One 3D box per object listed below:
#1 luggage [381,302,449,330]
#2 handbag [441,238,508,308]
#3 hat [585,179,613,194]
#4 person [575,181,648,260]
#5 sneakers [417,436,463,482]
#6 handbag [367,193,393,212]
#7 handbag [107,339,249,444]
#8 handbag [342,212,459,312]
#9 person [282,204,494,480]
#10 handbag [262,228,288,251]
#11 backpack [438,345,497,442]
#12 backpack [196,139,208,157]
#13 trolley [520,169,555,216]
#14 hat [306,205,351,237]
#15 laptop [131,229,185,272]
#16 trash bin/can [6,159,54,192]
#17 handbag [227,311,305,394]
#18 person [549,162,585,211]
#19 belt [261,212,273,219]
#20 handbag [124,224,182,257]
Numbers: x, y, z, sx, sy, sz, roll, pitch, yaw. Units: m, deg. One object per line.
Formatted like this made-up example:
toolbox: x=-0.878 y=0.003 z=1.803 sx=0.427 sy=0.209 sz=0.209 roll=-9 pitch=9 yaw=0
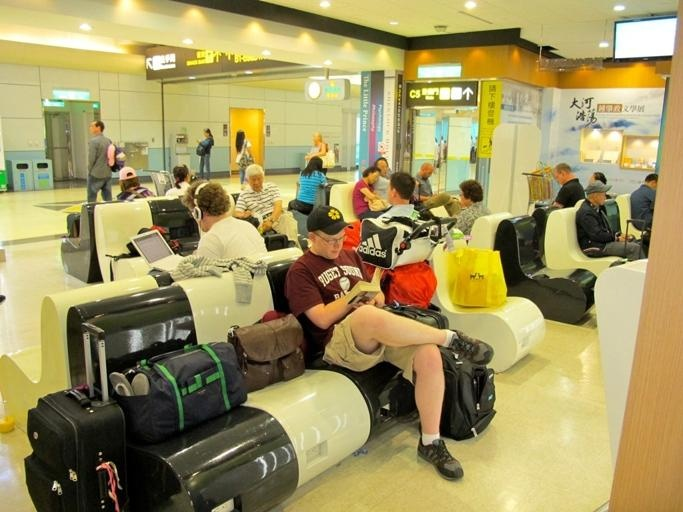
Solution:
luggage: x=0.491 y=0.355 z=3.069 sx=0.400 sy=0.215 sz=0.274 roll=3 pitch=-3 yaw=29
handbag: x=1.189 y=0.206 z=4.109 sx=0.493 sy=0.482 sz=0.369 roll=2 pitch=-5 yaw=6
hat: x=3.394 y=-0.883 z=6.044 sx=0.455 sy=0.172 sz=0.296 roll=-13 pitch=17 yaw=-31
person: x=3.390 y=-0.454 z=5.789 sx=0.762 sy=0.882 sz=0.826 roll=8 pitch=18 yaw=32
sneakers: x=0.596 y=1.194 z=2.785 sx=0.135 sy=0.161 sz=0.357 roll=-2 pitch=10 yaw=-32
handbag: x=0.661 y=-0.860 z=7.477 sx=0.512 sy=0.189 sz=0.526 roll=20 pitch=23 yaw=40
handbag: x=-0.759 y=0.641 z=2.227 sx=0.250 sy=0.359 sz=0.598 roll=-8 pitch=0 yaw=31
handbag: x=0.416 y=-0.048 z=3.587 sx=0.620 sy=0.824 sz=0.839 roll=-11 pitch=25 yaw=-36
person: x=0.249 y=0.474 z=2.881 sx=1.163 sy=1.505 sz=0.486 roll=7 pitch=18 yaw=28
handbag: x=-0.837 y=-0.185 z=5.664 sx=0.336 sy=0.267 sz=0.332 roll=5 pitch=8 yaw=44
backpack: x=0.842 y=0.911 z=3.151 sx=0.348 sy=0.570 sz=0.447 roll=0 pitch=5 yaw=36
backpack: x=-4.800 y=-3.679 z=15.927 sx=0.302 sy=0.517 sz=0.557 roll=-8 pitch=16 yaw=-23
trolley: x=3.619 y=-1.136 z=8.418 sx=0.542 sy=0.650 sz=0.469 roll=-6 pitch=7 yaw=-10
hat: x=-0.084 y=-0.214 z=2.929 sx=0.228 sy=0.132 sz=0.167 roll=1 pitch=23 yaw=31
laptop: x=-1.814 y=-0.096 z=4.496 sx=0.179 sy=0.337 sz=0.335 roll=-27 pitch=62 yaw=-1
trash bin/can: x=-9.522 y=-2.425 z=14.010 sx=0.567 sy=0.887 sz=1.060 roll=4 pitch=7 yaw=29
handbag: x=-0.433 y=0.547 z=2.656 sx=0.458 sy=0.354 sz=0.256 roll=-8 pitch=8 yaw=-42
person: x=3.633 y=-1.007 z=7.435 sx=0.504 sy=0.887 sz=0.680 roll=4 pitch=10 yaw=40
belt: x=-0.986 y=-0.521 z=6.092 sx=0.159 sy=0.062 sz=0.052 roll=-35 pitch=48 yaw=-10
handbag: x=-2.078 y=-0.245 z=5.171 sx=0.392 sy=0.279 sz=0.458 roll=4 pitch=27 yaw=25
